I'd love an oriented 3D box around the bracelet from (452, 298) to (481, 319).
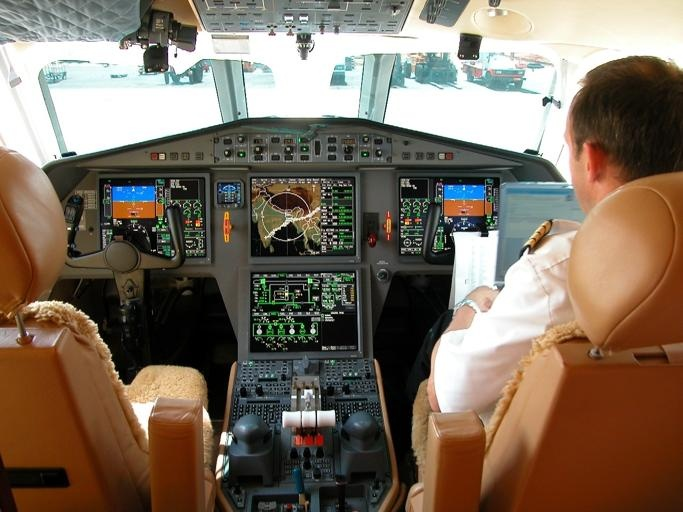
[{"bbox_3d":[0.453,0.188,1.979,0.069,0.062,0.022,-1,-17,44],"label":"bracelet"}]
